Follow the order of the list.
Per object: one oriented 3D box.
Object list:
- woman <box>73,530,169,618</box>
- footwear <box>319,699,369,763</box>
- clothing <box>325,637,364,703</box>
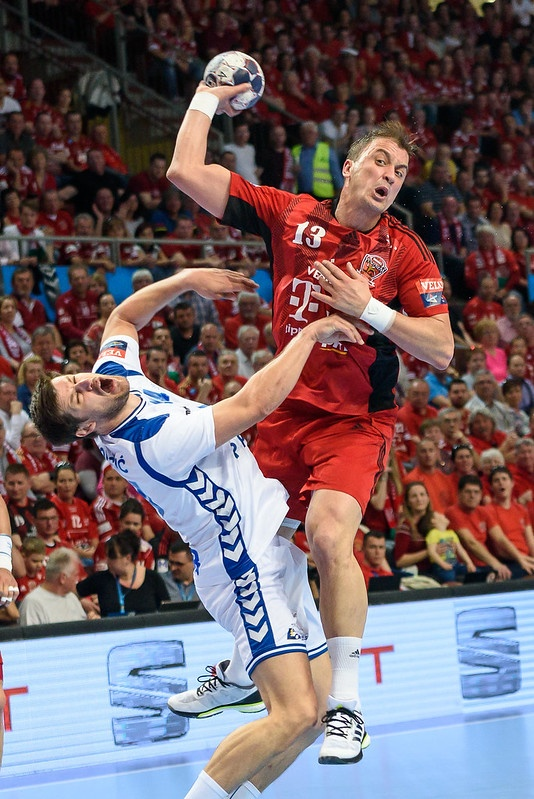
[{"bbox_3d":[-1.013,1.224,5.563,0.349,0.561,0.226,-18,-15,18],"label":"woman"},{"bbox_3d":[0.247,1.072,2.597,0.102,0.105,0.251,-4,-2,11],"label":"footwear"},{"bbox_3d":[0.253,0.909,2.682,0.112,0.243,0.161,4,15,2],"label":"clothing"}]
